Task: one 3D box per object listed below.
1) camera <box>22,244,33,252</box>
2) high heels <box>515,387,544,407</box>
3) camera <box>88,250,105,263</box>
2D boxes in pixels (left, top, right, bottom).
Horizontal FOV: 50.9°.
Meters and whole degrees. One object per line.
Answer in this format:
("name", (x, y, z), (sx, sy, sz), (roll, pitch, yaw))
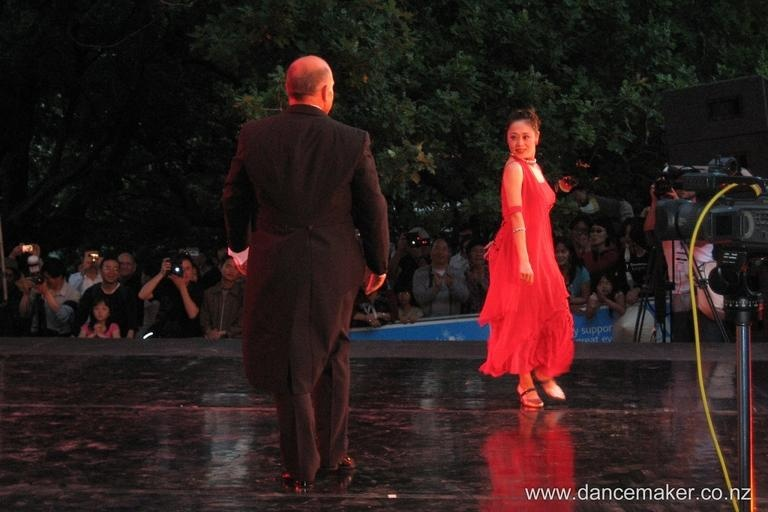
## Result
("camera", (-4.399, -0.086, 9.931), (0.108, 0.093, 0.037), (4, -17, -2))
("high heels", (1.160, 1.109, 6.354), (0.200, 0.146, 0.274), (1, -2, 9))
("camera", (-3.554, 0.014, 9.877), (0.144, 0.079, 0.173), (2, 10, -10))
